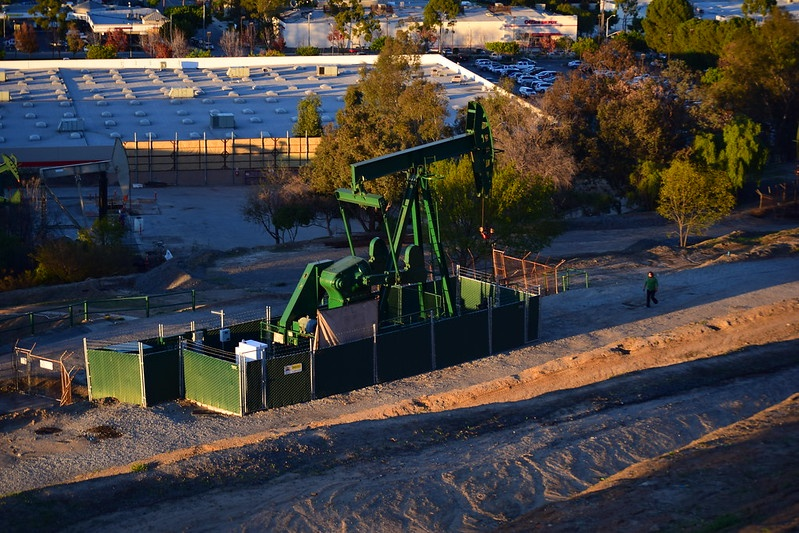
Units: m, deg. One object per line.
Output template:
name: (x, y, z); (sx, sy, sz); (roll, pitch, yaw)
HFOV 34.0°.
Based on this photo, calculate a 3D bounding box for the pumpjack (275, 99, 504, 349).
pumpjack: (-0.605, -2.794, 82.024); (7.161, 13.276, 15.698); (17, 27, 42)
